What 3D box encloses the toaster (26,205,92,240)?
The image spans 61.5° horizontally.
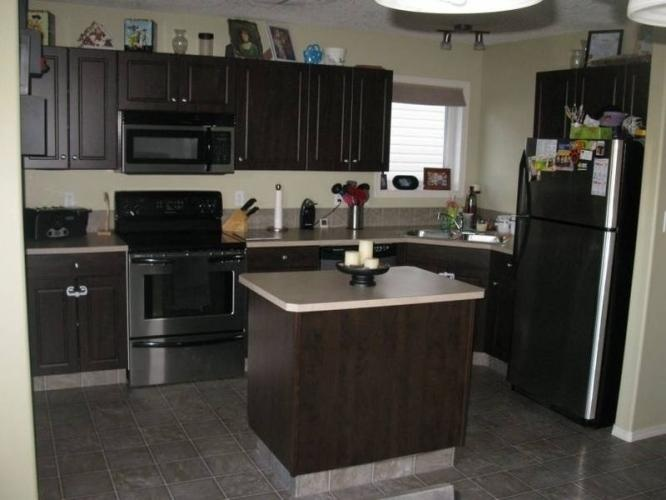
[{"bbox_3d":[-2.115,-0.206,4.302,0.436,0.241,0.161,-5,13,-29],"label":"toaster"}]

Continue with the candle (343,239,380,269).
[{"bbox_3d":[0.160,0.028,3.188,0.221,0.211,0.113,-2,5,-20],"label":"candle"}]

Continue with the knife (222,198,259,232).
[{"bbox_3d":[-0.809,-0.325,5.061,0.391,0.297,0.320,-5,13,-28],"label":"knife"}]

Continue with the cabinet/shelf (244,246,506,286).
[{"bbox_3d":[0.437,0.121,4.842,2.068,0.328,0.487,2,12,-1],"label":"cabinet/shelf"}]

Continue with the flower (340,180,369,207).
[{"bbox_3d":[0.212,-0.540,5.402,0.249,0.265,0.111,-5,-4,-13],"label":"flower"}]

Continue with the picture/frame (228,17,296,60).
[{"bbox_3d":[-0.644,-1.851,4.886,0.492,0.310,0.029,0,-17,-36],"label":"picture/frame"}]

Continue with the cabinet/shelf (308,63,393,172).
[{"bbox_3d":[0.134,-1.214,5.039,0.896,0.908,0.324,-2,10,-20],"label":"cabinet/shelf"}]

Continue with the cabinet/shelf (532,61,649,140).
[{"bbox_3d":[2.041,-1.173,4.375,0.243,0.727,0.759,-10,14,-38],"label":"cabinet/shelf"}]

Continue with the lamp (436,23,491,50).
[{"bbox_3d":[1.194,-1.973,5.121,0.400,0.204,0.173,1,1,12],"label":"lamp"}]

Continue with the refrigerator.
[{"bbox_3d":[1.652,0.198,4.050,0.222,1.973,0.816,-4,13,-28],"label":"refrigerator"}]

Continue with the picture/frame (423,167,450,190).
[{"bbox_3d":[1.081,-0.765,5.907,0.233,0.203,0.026,-1,3,-15],"label":"picture/frame"}]

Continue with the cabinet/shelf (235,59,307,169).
[{"bbox_3d":[-0.592,-1.378,5.191,0.761,1.132,0.821,-1,-7,2],"label":"cabinet/shelf"}]

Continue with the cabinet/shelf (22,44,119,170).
[{"bbox_3d":[-2.209,-1.228,4.503,0.827,1.062,0.707,2,-3,-13],"label":"cabinet/shelf"}]

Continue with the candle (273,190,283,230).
[{"bbox_3d":[-0.506,-0.389,5.186,0.092,0.374,0.346,0,11,-5],"label":"candle"}]

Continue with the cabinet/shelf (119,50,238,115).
[{"bbox_3d":[-1.280,-1.379,4.657,0.877,0.448,0.322,-2,6,-18],"label":"cabinet/shelf"}]
